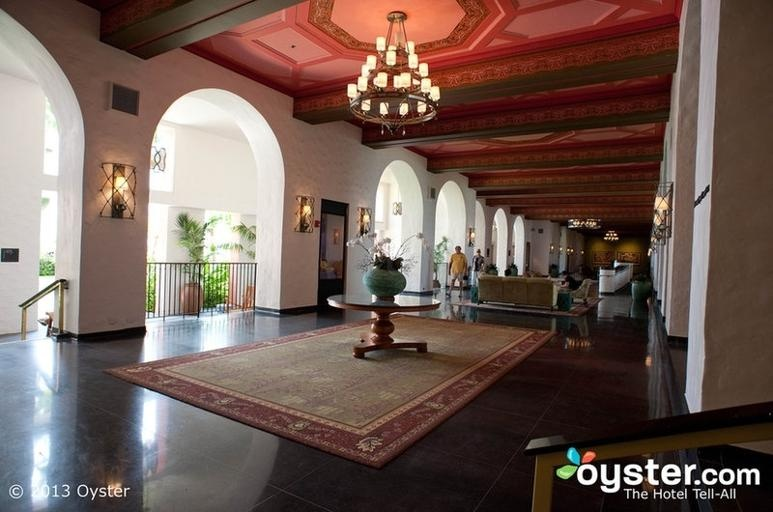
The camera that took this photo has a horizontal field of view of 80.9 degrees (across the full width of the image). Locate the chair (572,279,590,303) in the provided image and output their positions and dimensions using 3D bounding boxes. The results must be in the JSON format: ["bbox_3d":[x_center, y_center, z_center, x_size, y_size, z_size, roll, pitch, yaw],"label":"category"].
[{"bbox_3d":[5.725,0.995,13.265,0.705,0.826,0.693,0,-1,27],"label":"chair"}]

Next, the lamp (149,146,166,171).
[{"bbox_3d":[-6.732,-2.895,13.451,0.197,0.741,0.495,6,10,24],"label":"lamp"}]

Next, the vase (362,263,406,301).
[{"bbox_3d":[-0.032,0.446,7.381,0.767,0.486,0.721,2,-4,-22],"label":"vase"}]

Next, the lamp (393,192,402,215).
[{"bbox_3d":[0.439,-2.100,18.377,0.222,0.845,0.879,7,-4,9],"label":"lamp"}]

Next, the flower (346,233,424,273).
[{"bbox_3d":[0.099,-0.011,7.452,0.598,0.694,0.294,-11,-44,3],"label":"flower"}]

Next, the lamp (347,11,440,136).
[{"bbox_3d":[0.159,-2.915,7.220,1.484,1.799,1.449,2,-1,-4],"label":"lamp"}]

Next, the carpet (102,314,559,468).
[{"bbox_3d":[-0.946,1.906,6.428,3.270,0.055,5.112,12,-11,13],"label":"carpet"}]

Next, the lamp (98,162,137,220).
[{"bbox_3d":[-4.301,-1.050,7.344,0.194,0.923,0.600,7,10,29],"label":"lamp"}]

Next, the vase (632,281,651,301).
[{"bbox_3d":[8.375,1.152,14.960,0.732,0.748,0.708,-1,-6,11],"label":"vase"}]

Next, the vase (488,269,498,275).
[{"bbox_3d":[3.930,0.569,16.687,0.244,0.297,0.446,-4,-4,44],"label":"vase"}]

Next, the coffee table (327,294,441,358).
[{"bbox_3d":[-0.012,1.072,7.037,1.162,0.529,1.125,-2,6,-27],"label":"coffee table"}]
